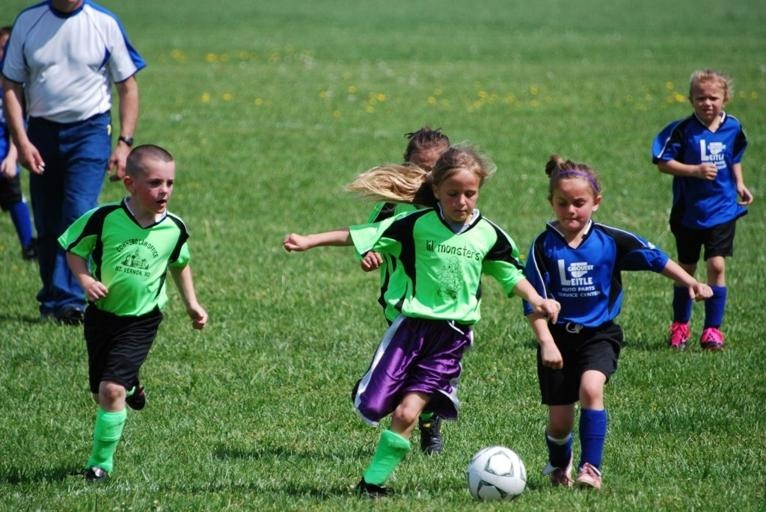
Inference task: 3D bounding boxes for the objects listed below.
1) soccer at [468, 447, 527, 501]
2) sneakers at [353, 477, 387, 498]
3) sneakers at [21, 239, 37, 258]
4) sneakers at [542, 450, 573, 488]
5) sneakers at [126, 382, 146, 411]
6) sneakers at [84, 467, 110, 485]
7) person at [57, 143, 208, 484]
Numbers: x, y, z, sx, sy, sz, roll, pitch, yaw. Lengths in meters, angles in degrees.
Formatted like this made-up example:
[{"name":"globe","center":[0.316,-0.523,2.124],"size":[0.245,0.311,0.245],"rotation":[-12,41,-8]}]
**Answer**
[{"name":"soccer","center":[1.147,2.227,12.539],"size":[0.516,0.510,0.530],"rotation":[-3,-17,1]},{"name":"sneakers","center":[-0.093,2.289,12.429],"size":[0.351,0.152,0.160],"rotation":[1,16,-2]},{"name":"sneakers","center":[-4.803,-0.074,16.931],"size":[0.155,0.267,0.261],"rotation":[5,-11,-18]},{"name":"sneakers","center":[1.785,2.213,12.659],"size":[0.151,0.197,0.435],"rotation":[2,1,17]},{"name":"sneakers","center":[-2.612,1.515,13.275],"size":[0.127,0.382,0.174],"rotation":[1,42,-3]},{"name":"sneakers","center":[-2.881,2.206,12.625],"size":[0.243,0.131,0.123],"rotation":[-3,17,-13]},{"name":"person","center":[-2.562,0.525,12.825],"size":[1.287,3.225,0.995],"rotation":[-6,17,-24]}]
